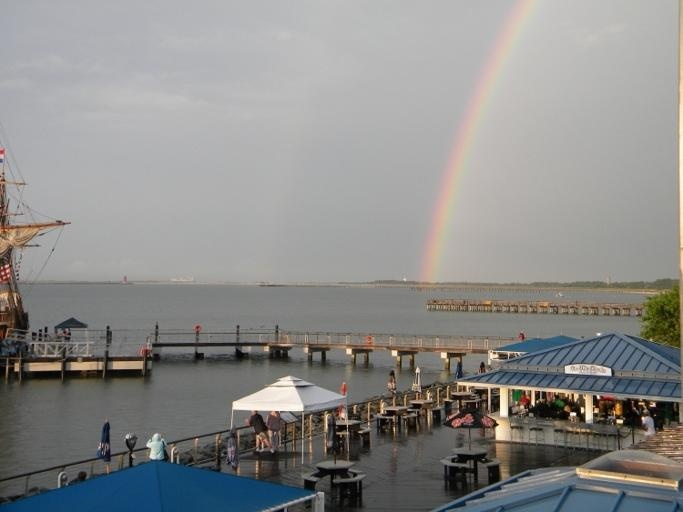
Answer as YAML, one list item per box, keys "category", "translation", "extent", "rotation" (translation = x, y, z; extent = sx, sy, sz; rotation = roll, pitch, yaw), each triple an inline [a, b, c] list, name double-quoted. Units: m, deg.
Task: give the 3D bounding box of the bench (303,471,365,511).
- category: "bench"
  translation: [-0.414, 10.155, 47.841]
  extent: [2.504, 1.757, 2.431]
  rotation: [-2, -3, -9]

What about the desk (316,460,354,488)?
- category: "desk"
  translation: [-0.418, 9.239, 48.110]
  extent: [1.132, 0.668, 1.101]
  rotation: [3, -5, -33]

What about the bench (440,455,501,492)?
- category: "bench"
  translation: [5.627, 9.433, 49.189]
  extent: [1.725, 0.660, 1.605]
  rotation: [3, -8, -41]

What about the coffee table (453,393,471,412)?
- category: "coffee table"
  translation: [6.846, 8.280, 64.296]
  extent: [0.866, 0.619, 0.939]
  rotation: [-3, -4, 43]

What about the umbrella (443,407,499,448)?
- category: "umbrella"
  translation: [5.731, 7.312, 50.426]
  extent: [2.090, 1.481, 2.175]
  rotation: [-2, 1, 19]
